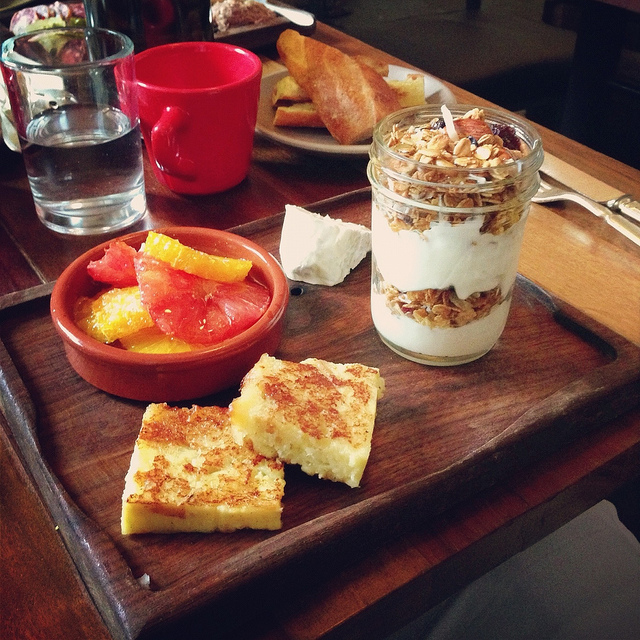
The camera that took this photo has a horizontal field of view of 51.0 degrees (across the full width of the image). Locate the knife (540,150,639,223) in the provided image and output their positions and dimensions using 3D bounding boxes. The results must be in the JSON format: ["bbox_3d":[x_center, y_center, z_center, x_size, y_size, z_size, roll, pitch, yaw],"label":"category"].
[{"bbox_3d":[0.419,-0.205,1.052,0.026,0.025,0.203,1,44,-35],"label":"knife"}]

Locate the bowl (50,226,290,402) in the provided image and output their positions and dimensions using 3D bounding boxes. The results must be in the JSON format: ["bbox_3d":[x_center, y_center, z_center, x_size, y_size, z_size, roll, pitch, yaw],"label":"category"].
[{"bbox_3d":[-0.149,0.023,0.748,0.241,0.075,0.223,2,35,-2],"label":"bowl"}]

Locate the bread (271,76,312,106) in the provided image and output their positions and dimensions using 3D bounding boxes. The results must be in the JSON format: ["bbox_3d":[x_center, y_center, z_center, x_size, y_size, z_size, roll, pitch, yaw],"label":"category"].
[{"bbox_3d":[-0.051,-0.416,1.227,0.065,0.020,0.063,25,55,21],"label":"bread"}]

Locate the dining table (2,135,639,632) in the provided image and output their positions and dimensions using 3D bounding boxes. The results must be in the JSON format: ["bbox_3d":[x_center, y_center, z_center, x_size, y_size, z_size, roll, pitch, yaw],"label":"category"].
[{"bbox_3d":[-0.009,0.095,0.922,0.736,0.297,0.740,-12,41,-16],"label":"dining table"}]

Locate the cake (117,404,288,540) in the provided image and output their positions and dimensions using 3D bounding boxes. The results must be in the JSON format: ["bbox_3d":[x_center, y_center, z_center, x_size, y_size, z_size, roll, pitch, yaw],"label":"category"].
[{"bbox_3d":[-0.101,0.129,0.608,0.136,0.042,0.133,-1,39,-2],"label":"cake"}]
